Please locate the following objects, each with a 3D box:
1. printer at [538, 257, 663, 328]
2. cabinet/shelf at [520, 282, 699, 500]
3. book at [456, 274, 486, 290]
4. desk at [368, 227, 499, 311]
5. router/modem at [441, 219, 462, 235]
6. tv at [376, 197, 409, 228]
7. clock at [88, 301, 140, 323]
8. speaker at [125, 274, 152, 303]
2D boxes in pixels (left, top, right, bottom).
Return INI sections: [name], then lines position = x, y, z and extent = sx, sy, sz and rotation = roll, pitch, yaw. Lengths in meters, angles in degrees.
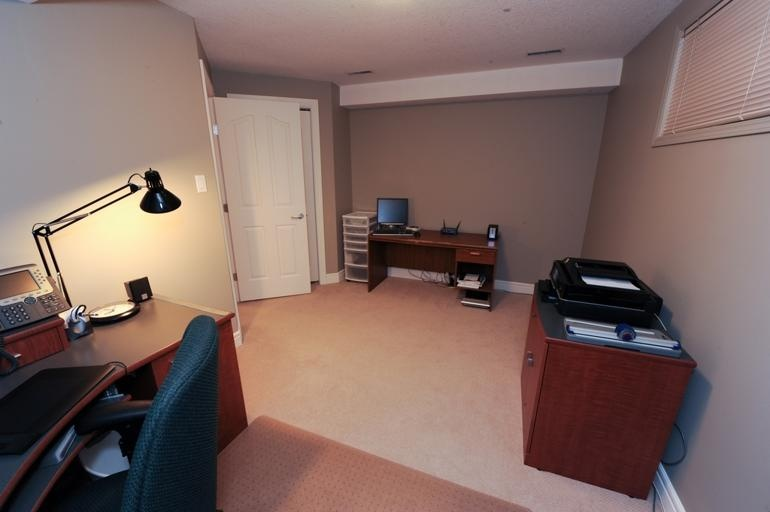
[printer]
position = 1.461, 0.233, 3.337
extent = 0.509, 0.211, 0.562
rotation = 5, 18, 17
[cabinet/shelf]
position = 1.516, 0.983, 3.658
extent = 0.963, 1.162, 1.615
rotation = 8, 18, 23
[book]
position = 0.923, 0.254, 5.290
extent = 0.285, 0.110, 0.333
rotation = 5, 15, 13
[desk]
position = 0.530, 0.101, 5.543
extent = 1.353, 0.728, 0.601
rotation = 7, 19, 17
[router/modem]
position = 0.740, -0.335, 5.574
extent = 0.201, 0.155, 0.143
rotation = 4, 16, 12
[tv]
position = 0.081, -0.501, 5.686
extent = 0.331, 0.286, 0.065
rotation = 1, 21, 1
[clock]
position = -1.816, 0.375, 3.316
extent = 0.170, 0.041, 0.172
rotation = 15, 21, 43
[speaker]
position = -1.769, 0.235, 3.530
extent = 0.083, 0.159, 0.159
rotation = -1, 15, 30
